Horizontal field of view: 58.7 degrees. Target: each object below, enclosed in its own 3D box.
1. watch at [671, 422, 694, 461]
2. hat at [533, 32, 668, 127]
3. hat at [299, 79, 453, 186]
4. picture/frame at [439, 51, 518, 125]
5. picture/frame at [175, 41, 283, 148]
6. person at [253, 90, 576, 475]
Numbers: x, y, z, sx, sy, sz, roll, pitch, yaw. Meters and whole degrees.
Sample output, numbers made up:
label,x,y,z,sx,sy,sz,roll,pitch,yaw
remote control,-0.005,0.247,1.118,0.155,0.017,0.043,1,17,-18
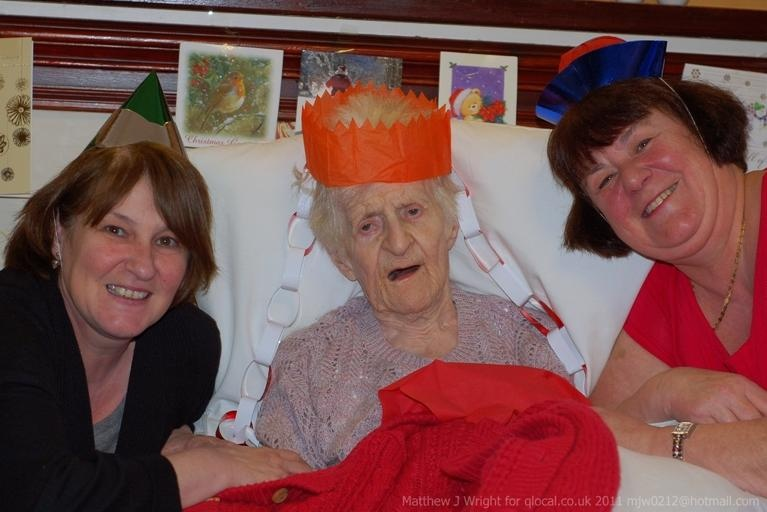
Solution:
label,x,y,z,sx,sy,sz,roll,pitch,yaw
watch,0.755,0.461,1.735,0.051,0.096,0.092,3,21,33
hat,0.696,-0.593,2.210,0.289,0.162,0.381,-13,21,41
hat,-0.023,-0.369,2.091,0.370,0.171,0.306,2,27,9
picture/frame,0.346,-0.643,2.600,0.324,0.356,0.031,5,-2,-1
picture/frame,-0.600,-0.619,2.568,0.393,0.430,0.020,4,6,-8
person,0.089,0.108,2.082,0.948,1.005,0.451,-9,2,-10
